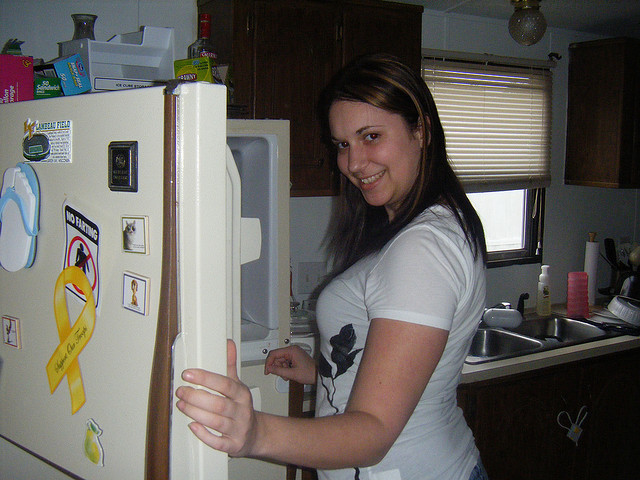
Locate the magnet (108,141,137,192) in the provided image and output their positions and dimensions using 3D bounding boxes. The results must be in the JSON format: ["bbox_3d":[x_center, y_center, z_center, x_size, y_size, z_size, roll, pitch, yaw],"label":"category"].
[{"bbox_3d":[-0.319,-0.121,0.877,0.070,0.100,0.013,5,6,30],"label":"magnet"}]

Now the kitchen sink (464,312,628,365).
[{"bbox_3d":[0.999,0.495,2.630,0.851,0.183,0.544,1,4,-22],"label":"kitchen sink"}]

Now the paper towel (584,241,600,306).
[{"bbox_3d":[1.643,0.165,3.242,0.066,0.323,0.074,-7,12,2],"label":"paper towel"}]

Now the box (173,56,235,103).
[{"bbox_3d":[-0.427,-0.589,1.861,0.158,0.098,0.163,-14,-36,-13],"label":"box"}]

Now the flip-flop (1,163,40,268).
[{"bbox_3d":[-0.573,-0.061,1.088,0.071,0.221,0.062,3,14,19],"label":"flip-flop"}]
